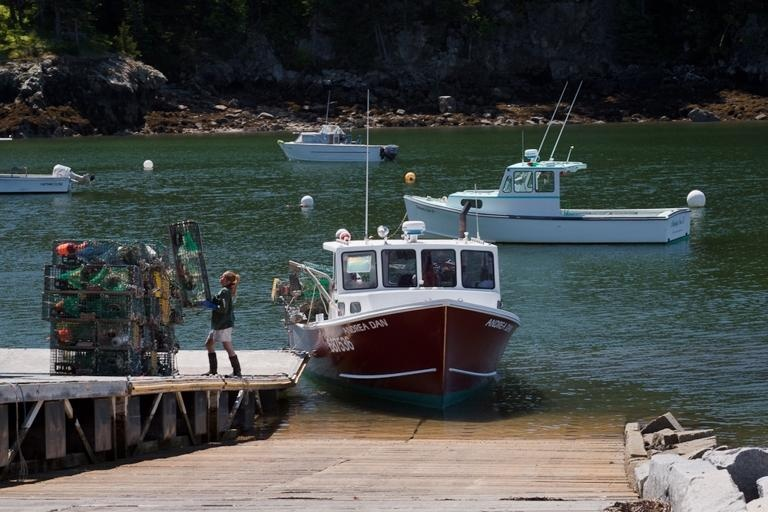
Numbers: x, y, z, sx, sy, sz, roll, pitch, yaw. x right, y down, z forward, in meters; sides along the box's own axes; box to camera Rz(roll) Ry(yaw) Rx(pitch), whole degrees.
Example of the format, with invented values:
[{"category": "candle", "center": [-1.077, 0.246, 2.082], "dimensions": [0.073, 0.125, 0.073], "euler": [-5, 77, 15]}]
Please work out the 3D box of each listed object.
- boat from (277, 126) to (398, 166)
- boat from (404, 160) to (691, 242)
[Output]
[{"category": "boat", "center": [-5.474, -12.533, 187.433], "dimensions": [18.062, 5.287, 4.938], "euler": [2, -6, 6]}, {"category": "boat", "center": [17.108, -4.589, 151.124], "dimensions": [30.286, 8.631, 8.039], "euler": [1, -1, 3]}]
